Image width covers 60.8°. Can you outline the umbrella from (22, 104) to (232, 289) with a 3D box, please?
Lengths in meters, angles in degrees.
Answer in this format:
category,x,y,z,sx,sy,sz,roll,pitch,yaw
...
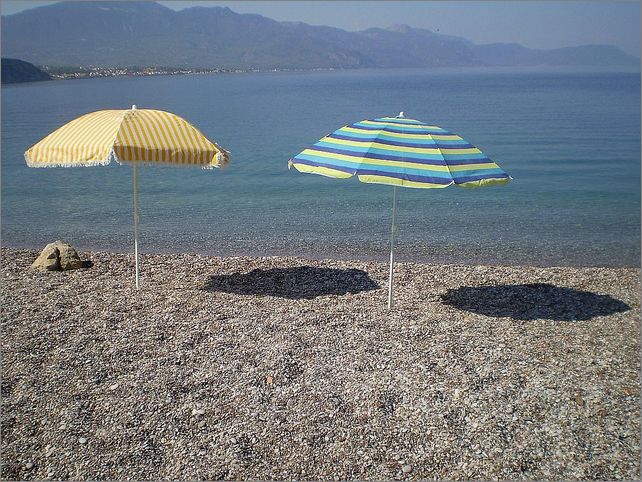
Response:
category,x,y,z,sx,sy,sz,roll,pitch,yaw
umbrella,-3.361,-1.601,9.758,2.372,1.551,1.909,8,14,29

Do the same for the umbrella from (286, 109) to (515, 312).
category,x,y,z,sx,sy,sz,roll,pitch,yaw
umbrella,1.135,-0.955,10.181,3.703,2.247,3.402,12,13,30
